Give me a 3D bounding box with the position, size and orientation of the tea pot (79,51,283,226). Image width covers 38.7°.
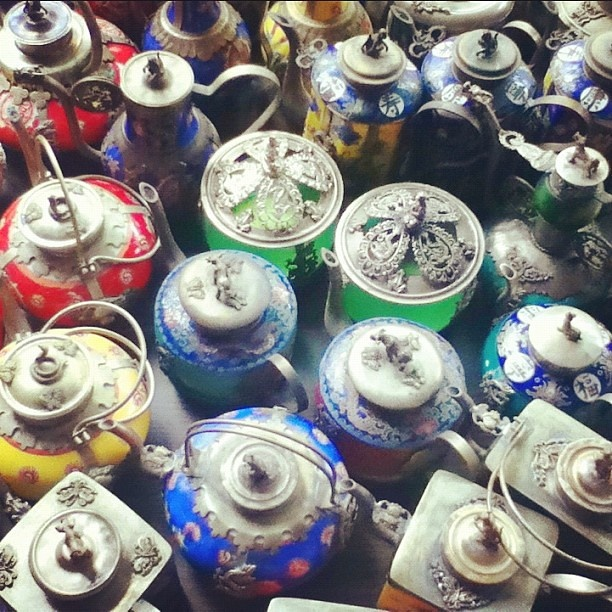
[{"bbox_3d":[-0.584,-0.787,4.150,0.975,0.927,0.456,8,57,1],"label":"tea pot"}]

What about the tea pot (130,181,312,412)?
[{"bbox_3d":[-0.333,0.161,3.750,0.600,0.776,0.614,1,55,-1],"label":"tea pot"}]

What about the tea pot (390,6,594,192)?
[{"bbox_3d":[0.891,-0.972,4.208,0.542,0.845,0.790,-29,64,-9],"label":"tea pot"}]

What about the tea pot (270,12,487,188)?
[{"bbox_3d":[0.135,-1.048,4.355,0.834,0.783,0.462,32,59,25],"label":"tea pot"}]

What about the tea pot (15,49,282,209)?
[{"bbox_3d":[-0.770,-0.822,4.077,1.284,0.858,0.554,2,66,-4],"label":"tea pot"}]

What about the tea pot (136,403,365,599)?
[{"bbox_3d":[-0.152,0.761,3.414,0.876,0.766,0.578,15,65,5],"label":"tea pot"}]

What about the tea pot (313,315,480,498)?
[{"bbox_3d":[0.471,0.353,3.650,0.873,0.646,0.570,1,57,0],"label":"tea pot"}]

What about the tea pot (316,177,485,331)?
[{"bbox_3d":[0.474,-0.223,4.001,0.830,0.540,0.503,-35,68,-15],"label":"tea pot"}]

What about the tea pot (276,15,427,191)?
[{"bbox_3d":[0.243,-0.969,4.187,0.833,0.775,0.414,-1,67,-3],"label":"tea pot"}]
